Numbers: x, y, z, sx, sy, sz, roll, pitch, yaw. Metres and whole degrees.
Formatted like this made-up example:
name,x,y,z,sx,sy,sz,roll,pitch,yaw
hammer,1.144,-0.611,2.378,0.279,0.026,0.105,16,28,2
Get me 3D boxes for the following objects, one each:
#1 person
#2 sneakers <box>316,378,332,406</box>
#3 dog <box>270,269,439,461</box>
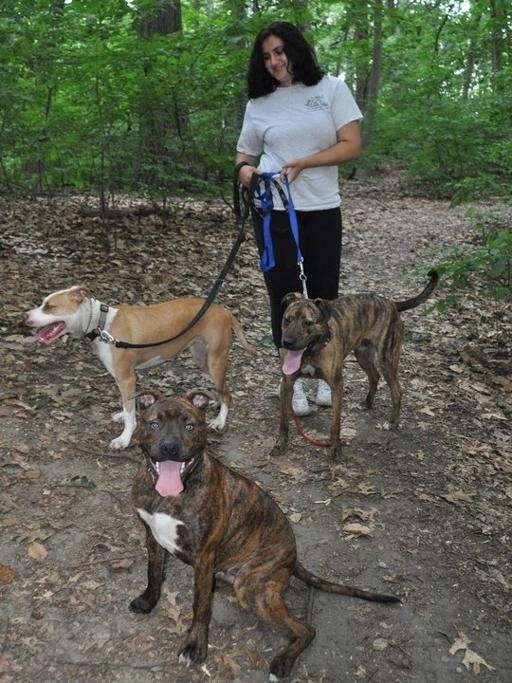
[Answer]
name,x,y,z,sx,sy,sz,roll,pitch,yaw
person,0.298,-0.748,4.318,0.742,3.103,0.868,-10,19,-30
sneakers,0.631,0.485,5.135,0.085,0.343,0.183,5,62,19
dog,0.786,0.139,4.604,0.618,1.358,2.223,16,24,37
